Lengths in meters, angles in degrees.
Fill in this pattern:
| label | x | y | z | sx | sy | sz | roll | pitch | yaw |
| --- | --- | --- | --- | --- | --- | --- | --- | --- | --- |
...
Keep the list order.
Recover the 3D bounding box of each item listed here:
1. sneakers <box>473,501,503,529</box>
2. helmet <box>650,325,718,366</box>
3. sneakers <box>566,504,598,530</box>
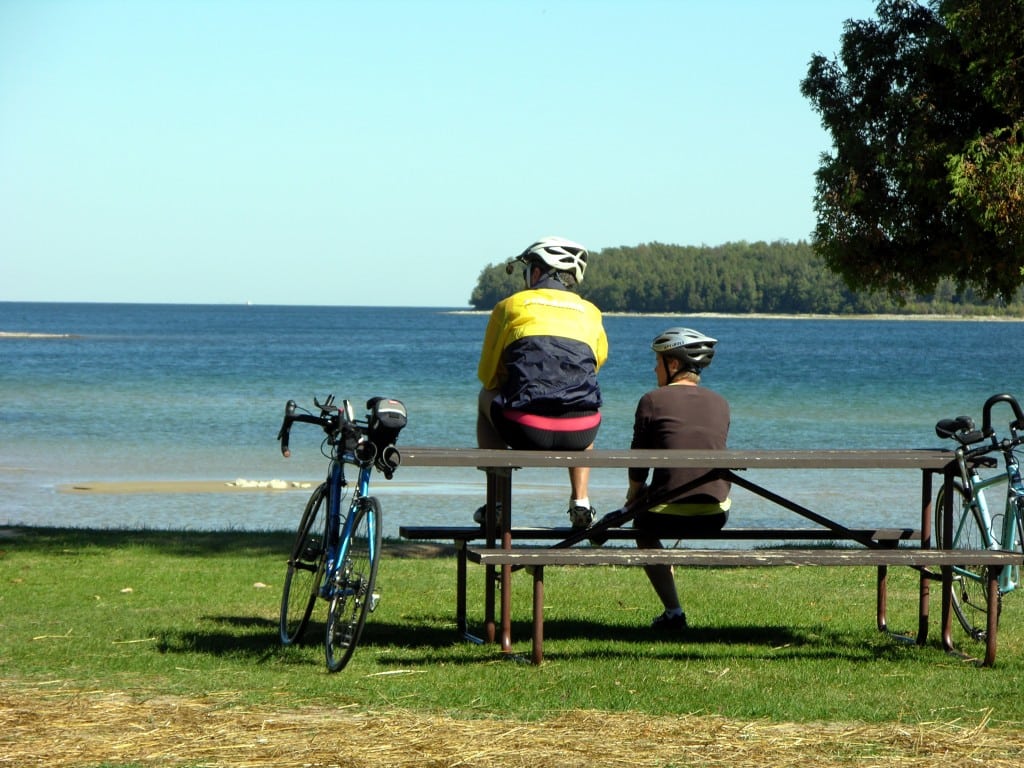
| label | x | y | z | sx | sy | sz | roll | pitch | yaw |
| --- | --- | --- | --- | --- | --- | --- | --- | --- | --- |
| sneakers | -0.209 | 1.304 | 20.221 | 0.207 | 0.131 | 0.288 | 1 | 4 | -12 |
| helmet | 1.713 | -0.381 | 20.503 | 0.535 | 0.291 | 0.377 | 0 | 1 | 6 |
| sneakers | 0.687 | 1.314 | 20.169 | 0.277 | 0.268 | 0.211 | -2 | 1 | 18 |
